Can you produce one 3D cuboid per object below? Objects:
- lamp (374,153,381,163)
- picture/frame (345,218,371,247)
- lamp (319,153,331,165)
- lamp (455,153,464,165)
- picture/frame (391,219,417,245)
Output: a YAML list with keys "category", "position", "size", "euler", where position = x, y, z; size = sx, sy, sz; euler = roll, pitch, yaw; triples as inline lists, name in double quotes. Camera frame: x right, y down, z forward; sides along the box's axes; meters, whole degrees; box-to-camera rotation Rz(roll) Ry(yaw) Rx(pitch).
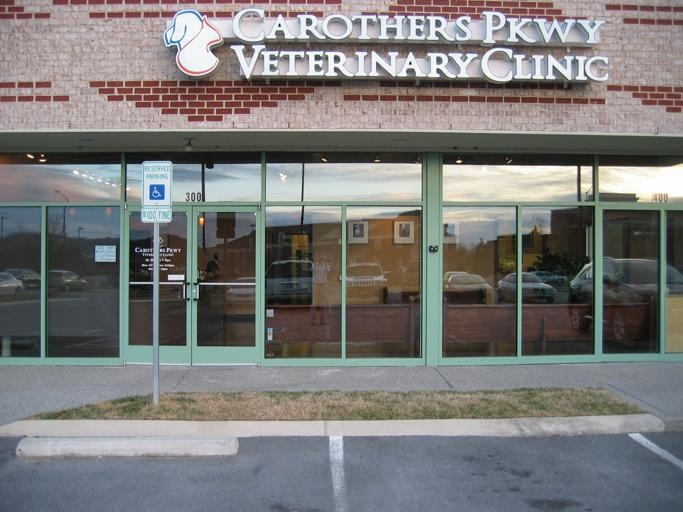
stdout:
- category: "lamp"
  position: [0.721, -1.991, 14.426]
  size: [0.208, 0.182, 0.049]
  euler: [1, 2, 2]
- category: "picture/frame"
  position: [0.310, -0.458, 14.330]
  size: [0.625, 0.674, 0.048]
  euler: [0, -7, -4]
- category: "lamp"
  position: [-0.349, -1.971, 14.369]
  size: [0.300, 0.144, 0.281]
  euler: [-1, 0, -17]
- category: "lamp"
  position: [2.392, -1.961, 14.459]
  size: [0.182, 0.162, 0.043]
  euler: [-2, 3, -8]
- category: "picture/frame"
  position: [1.239, -0.470, 14.348]
  size: [0.536, 0.579, 0.045]
  euler: [1, -5, -4]
